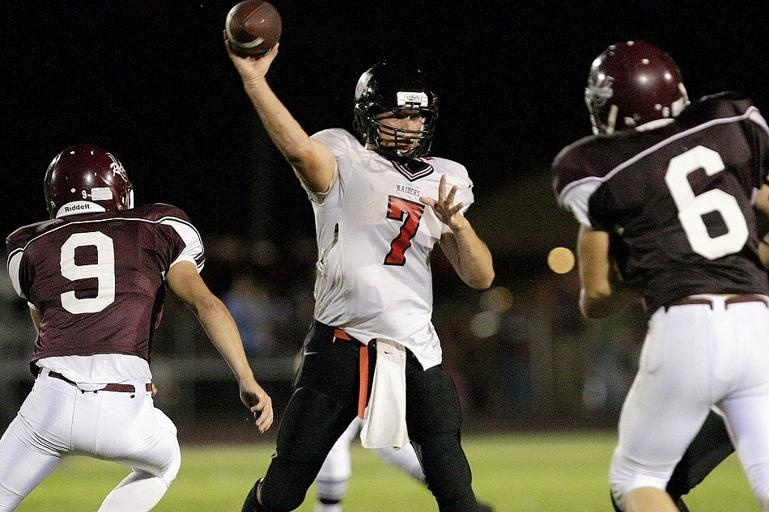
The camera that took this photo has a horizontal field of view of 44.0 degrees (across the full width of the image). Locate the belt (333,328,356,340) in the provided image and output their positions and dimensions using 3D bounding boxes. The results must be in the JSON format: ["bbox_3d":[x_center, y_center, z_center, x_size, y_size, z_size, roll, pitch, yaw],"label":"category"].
[{"bbox_3d":[-0.210,0.429,5.181,0.080,0.041,0.062,30,4,32],"label":"belt"}]

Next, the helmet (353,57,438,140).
[{"bbox_3d":[0.049,-0.890,5.527,0.457,0.429,0.543,-7,28,-35],"label":"helmet"}]

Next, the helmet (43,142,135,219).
[{"bbox_3d":[-1.745,-0.436,5.578,0.488,0.480,0.625,-5,7,-1],"label":"helmet"}]

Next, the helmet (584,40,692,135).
[{"bbox_3d":[1.290,-0.879,5.061,0.445,0.474,0.545,-17,37,12],"label":"helmet"}]
